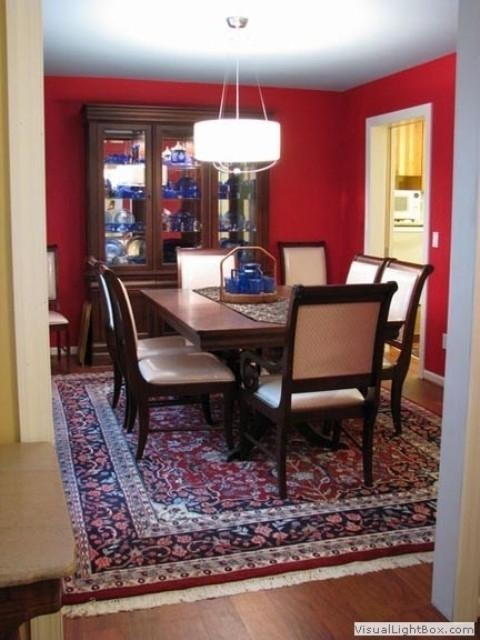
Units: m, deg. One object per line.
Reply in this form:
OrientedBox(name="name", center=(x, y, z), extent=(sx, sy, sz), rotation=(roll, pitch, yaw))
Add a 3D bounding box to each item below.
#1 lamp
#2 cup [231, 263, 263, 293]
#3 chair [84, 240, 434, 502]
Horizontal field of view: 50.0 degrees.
OrientedBox(name="lamp", center=(0.000, -1.374, 3.140), extent=(0.466, 0.837, 0.480), rotation=(3, 19, 12))
OrientedBox(name="cup", center=(0.046, -0.254, 3.445), extent=(0.191, 0.216, 0.209), rotation=(1, -2, 0))
OrientedBox(name="chair", center=(0.547, 0.182, 2.719), extent=(1.388, 0.708, 1.385), rotation=(-14, 20, -38))
